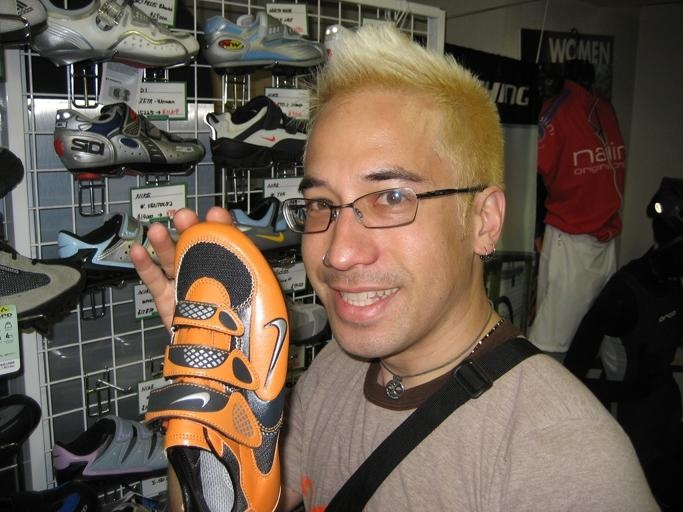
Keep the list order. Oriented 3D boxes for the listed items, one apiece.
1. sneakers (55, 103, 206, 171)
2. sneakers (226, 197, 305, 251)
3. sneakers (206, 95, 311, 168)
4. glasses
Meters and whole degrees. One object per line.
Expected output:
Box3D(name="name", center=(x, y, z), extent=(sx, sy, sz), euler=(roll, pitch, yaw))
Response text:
Box3D(name="sneakers", center=(-0.795, -0.432, 2.155), extent=(0.222, 0.251, 0.493), euler=(8, 11, 43))
Box3D(name="sneakers", center=(-0.332, -0.141, 2.649), extent=(0.144, 0.234, 0.445), euler=(13, 0, 35))
Box3D(name="sneakers", center=(-0.350, -0.596, 2.581), extent=(0.225, 0.302, 0.605), euler=(17, 25, 40))
Box3D(name="glasses", center=(0.138, -0.124, 1.503), extent=(0.484, 0.141, 0.206), euler=(3, 16, 12))
